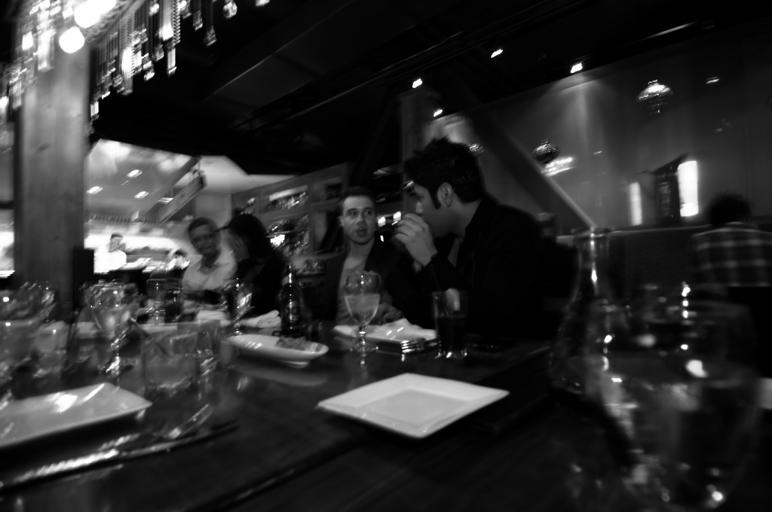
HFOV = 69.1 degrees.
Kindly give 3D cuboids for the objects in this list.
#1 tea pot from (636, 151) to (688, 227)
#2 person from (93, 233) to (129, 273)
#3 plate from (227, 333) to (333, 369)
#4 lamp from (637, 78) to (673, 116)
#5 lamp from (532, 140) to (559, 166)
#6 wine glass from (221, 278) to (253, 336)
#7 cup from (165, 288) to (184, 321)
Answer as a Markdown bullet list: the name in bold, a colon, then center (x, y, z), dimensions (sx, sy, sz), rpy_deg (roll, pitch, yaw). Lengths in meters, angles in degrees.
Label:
- **tea pot**: center (1.965, -0.469, 3.959), dimensions (0.289, 0.446, 0.157), rpy_deg (-1, -3, 30)
- **person**: center (-2.863, -0.057, 5.803), dimensions (0.226, 0.426, 0.709), rpy_deg (0, -3, -10)
- **plate**: center (-0.387, 0.310, 2.001), dimensions (0.363, 0.062, 0.135), rpy_deg (0, 1, 36)
- **lamp**: center (1.855, -1.117, 3.920), dimensions (0.187, 0.182, 0.192), rpy_deg (-17, 8, 20)
- **lamp**: center (1.268, -0.817, 4.454), dimensions (0.186, 0.177, 0.183), rpy_deg (-4, 5, -9)
- **wine glass**: center (-0.633, 0.208, 2.373), dimensions (0.120, 0.209, 0.071), rpy_deg (5, 2, -6)
- **cup**: center (-0.901, 0.210, 2.387), dimensions (0.054, 0.134, 0.036), rpy_deg (-15, -42, -9)
